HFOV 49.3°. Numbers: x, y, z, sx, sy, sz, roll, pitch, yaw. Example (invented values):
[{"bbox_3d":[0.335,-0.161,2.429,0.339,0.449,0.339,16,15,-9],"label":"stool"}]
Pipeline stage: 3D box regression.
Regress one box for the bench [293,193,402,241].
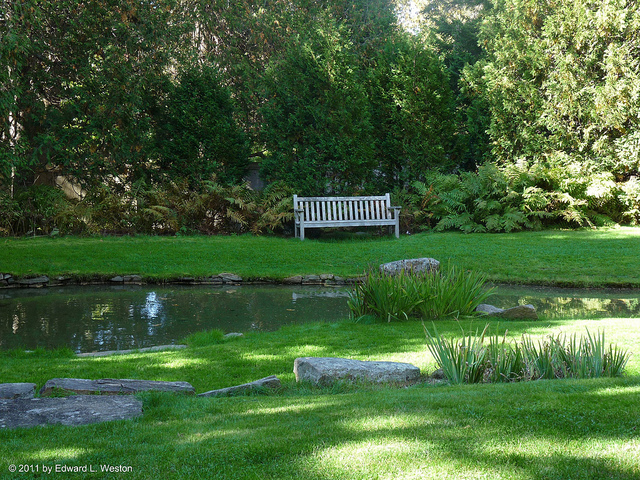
[{"bbox_3d":[0.803,-0.659,21.647,3.190,1.463,1.080,-1,5,7],"label":"bench"}]
